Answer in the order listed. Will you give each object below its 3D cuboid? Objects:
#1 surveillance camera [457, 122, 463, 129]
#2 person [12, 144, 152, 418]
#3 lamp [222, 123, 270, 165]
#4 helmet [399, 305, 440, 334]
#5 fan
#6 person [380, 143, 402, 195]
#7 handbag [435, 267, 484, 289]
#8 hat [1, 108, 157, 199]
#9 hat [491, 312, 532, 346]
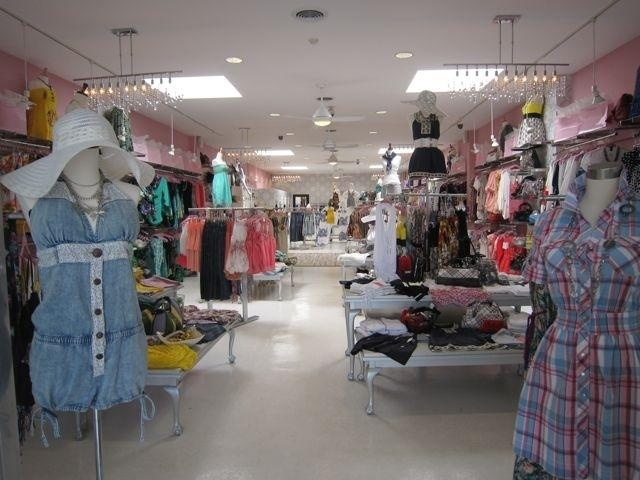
[{"bbox_3d":[2.842,-2.300,9.532,0.087,0.078,0.089,-1,5,0],"label":"surveillance camera"},{"bbox_3d":[-1.193,0.202,2.438,0.541,1.364,0.250,-1,1,-32],"label":"person"},{"bbox_3d":[-2.075,-2.558,12.881,1.388,0.817,1.427,3,10,23],"label":"lamp"},{"bbox_3d":[0.853,0.685,4.101,0.201,0.135,0.244,0,1,-3],"label":"helmet"},{"bbox_3d":[0.136,-1.946,7.754,0.879,0.965,0.890,-2,-2,-3],"label":"fan"},{"bbox_3d":[1.262,-1.261,8.339,0.323,1.018,1.223,0,1,10],"label":"person"},{"bbox_3d":[1.297,0.349,4.414,0.391,0.162,0.217,0,1,14],"label":"handbag"},{"bbox_3d":[-1.258,-0.455,2.474,0.598,0.358,0.606,-9,11,-7],"label":"hat"},{"bbox_3d":[1.605,0.750,3.885,0.275,0.278,0.089,-11,-45,37],"label":"hat"}]
